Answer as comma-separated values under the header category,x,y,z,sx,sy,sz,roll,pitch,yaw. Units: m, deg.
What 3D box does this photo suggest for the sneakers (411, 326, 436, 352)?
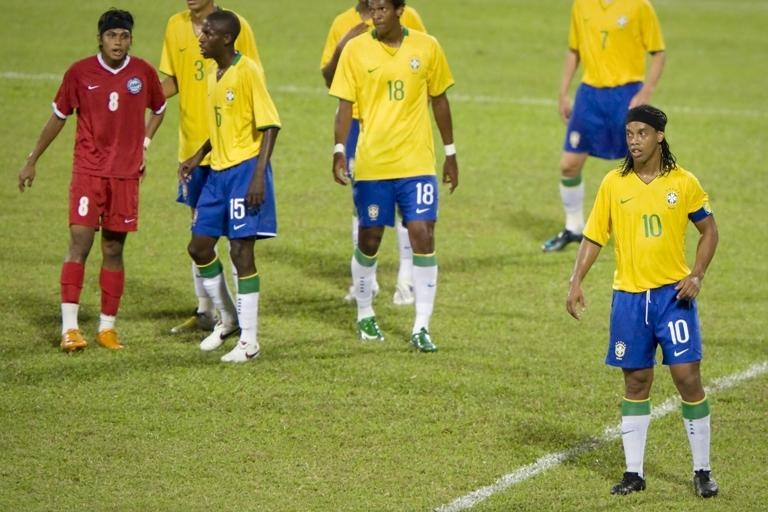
category,x,y,z,sx,sy,sz,roll,pitch,yaw
sneakers,0.359,0.787,10.457,0.122,0.145,0.320,-2,9,-21

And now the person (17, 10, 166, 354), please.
category,x,y,z,sx,sy,sz,roll,pitch,yaw
person,-2.602,-0.715,10.221,1.141,3.030,0.762,-2,12,-15

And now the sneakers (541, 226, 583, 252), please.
category,x,y,z,sx,sy,sz,roll,pitch,yaw
sneakers,2.058,-0.224,13.101,0.600,0.247,0.198,-7,20,-16

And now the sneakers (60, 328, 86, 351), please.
category,x,y,z,sx,sy,sz,roll,pitch,yaw
sneakers,-2.844,0.754,10.185,0.147,0.113,0.256,-3,8,-19

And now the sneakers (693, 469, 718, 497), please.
category,x,y,z,sx,sy,sz,roll,pitch,yaw
sneakers,2.479,1.759,8.651,0.121,0.103,0.245,-10,42,8

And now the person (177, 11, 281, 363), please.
category,x,y,z,sx,sy,sz,roll,pitch,yaw
person,-1.365,-0.634,10.057,0.805,3.094,0.606,3,12,6

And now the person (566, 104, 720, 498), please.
category,x,y,z,sx,sy,sz,roll,pitch,yaw
person,2.040,0.325,8.709,1.214,2.938,0.728,3,12,9

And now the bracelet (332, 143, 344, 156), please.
category,x,y,z,sx,sy,sz,roll,pitch,yaw
bracelet,-0.434,-0.999,10.358,0.104,0.102,0.094,-2,5,1

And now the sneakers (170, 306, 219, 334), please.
category,x,y,z,sx,sy,sz,roll,pitch,yaw
sneakers,-1.790,0.609,10.726,0.518,0.215,0.172,-2,13,-13

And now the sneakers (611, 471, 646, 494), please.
category,x,y,z,sx,sy,sz,roll,pitch,yaw
sneakers,1.891,1.748,8.709,0.317,0.151,0.122,-3,11,-15

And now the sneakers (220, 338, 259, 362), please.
category,x,y,z,sx,sy,sz,roll,pitch,yaw
sneakers,-1.312,0.845,10.137,0.326,0.134,0.166,-12,19,-31

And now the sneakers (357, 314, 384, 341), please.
category,x,y,z,sx,sy,sz,roll,pitch,yaw
sneakers,-0.135,0.676,10.636,0.167,0.185,0.274,-20,22,-33

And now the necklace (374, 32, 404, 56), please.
category,x,y,z,sx,sy,sz,roll,pitch,yaw
necklace,0.034,-1.945,10.212,0.295,0.209,0.103,1,12,0

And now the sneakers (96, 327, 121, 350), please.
category,x,y,z,sx,sy,sz,roll,pitch,yaw
sneakers,-2.515,0.748,10.277,0.126,0.125,0.300,-6,8,-44
